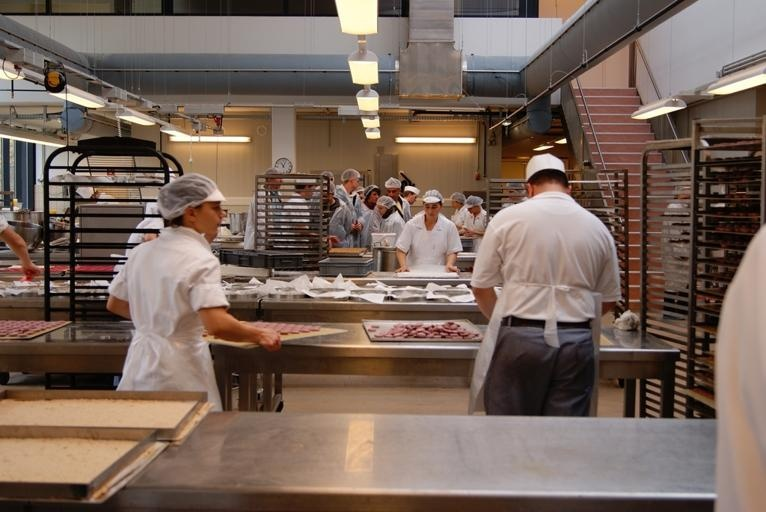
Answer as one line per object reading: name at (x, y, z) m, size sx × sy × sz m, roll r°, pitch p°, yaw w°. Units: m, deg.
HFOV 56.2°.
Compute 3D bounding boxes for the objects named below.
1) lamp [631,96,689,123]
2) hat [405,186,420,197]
lamp at (3.147, -1.711, 8.247) m, size 0.337 × 0.231 × 0.560 m, roll 0°, pitch 12°, yaw -11°
hat at (0.430, -1.044, 11.464) m, size 0.216 × 0.110 × 0.235 m, roll 0°, pitch 2°, yaw 3°
